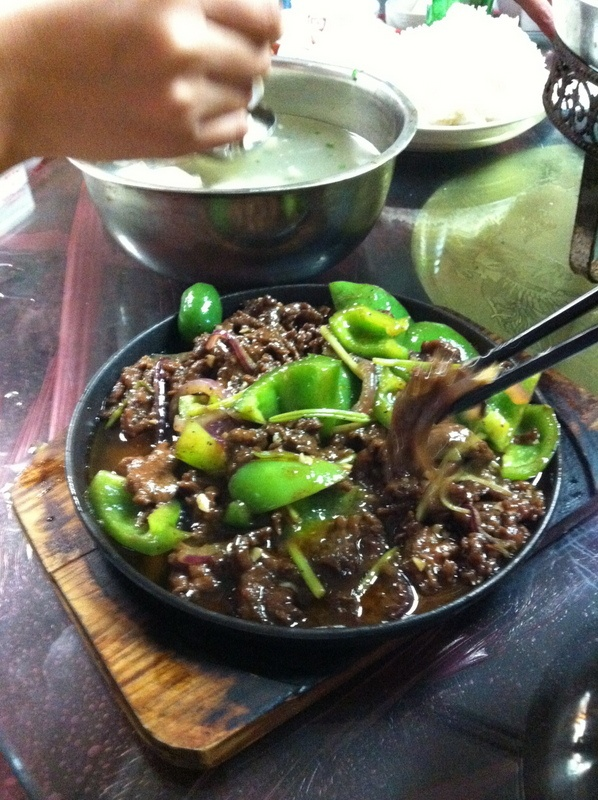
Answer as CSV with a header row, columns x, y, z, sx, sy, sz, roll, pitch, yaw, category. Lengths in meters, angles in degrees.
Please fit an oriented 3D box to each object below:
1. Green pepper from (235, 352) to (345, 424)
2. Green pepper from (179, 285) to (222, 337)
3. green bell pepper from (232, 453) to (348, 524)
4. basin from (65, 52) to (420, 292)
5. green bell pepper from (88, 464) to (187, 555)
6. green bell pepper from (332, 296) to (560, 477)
x,y,z,sx,sy,sz,roll,pitch,yaw,category
-0.034,-0.009,1.348,0.140,0.269,0.082,10,71,-61,Green pepper
-0.197,-0.180,1.479,0.093,0.104,0.088,8,3,-6,Green pepper
0.001,0.139,1.162,0.104,0.205,0.066,-39,108,-56,green bell pepper
-0.076,-0.569,1.805,0.685,0.381,0.853,26,48,17,basin
-0.264,0.179,1.171,0.114,0.051,0.142,11,29,-51,green bell pepper
0.238,-0.034,1.365,0.276,0.084,0.418,-14,48,-30,green bell pepper
